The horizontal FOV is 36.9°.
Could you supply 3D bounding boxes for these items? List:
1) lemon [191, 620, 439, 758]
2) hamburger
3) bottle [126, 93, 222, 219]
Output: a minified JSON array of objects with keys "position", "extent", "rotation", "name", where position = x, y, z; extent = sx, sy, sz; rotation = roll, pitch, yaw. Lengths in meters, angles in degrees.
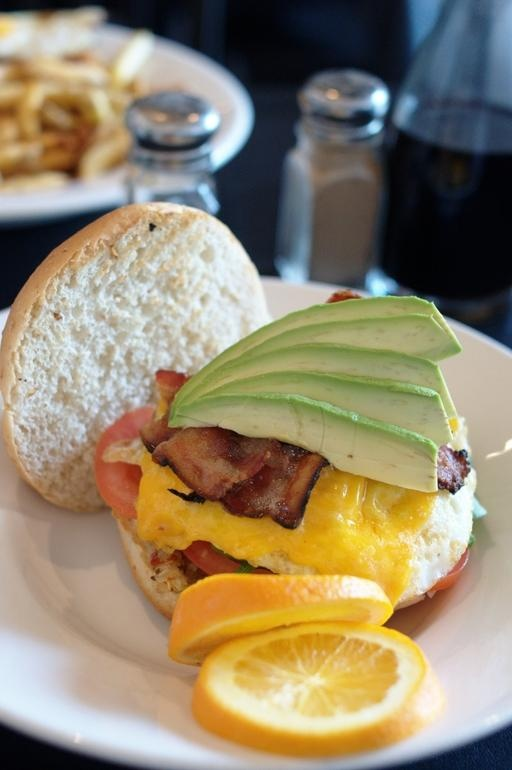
[{"position":[0.077,0.395,0.987],"extent":[0.289,0.087,0.183],"rotation":[1,35,-6],"name":"lemon"},{"position":[-0.072,0.086,1.508],"extent":[0.715,0.382,0.885],"rotation":[-35,62,-17],"name":"hamburger"},{"position":[-0.208,-0.568,1.940],"extent":[0.236,0.296,0.249],"rotation":[3,37,-3],"name":"bottle"}]
